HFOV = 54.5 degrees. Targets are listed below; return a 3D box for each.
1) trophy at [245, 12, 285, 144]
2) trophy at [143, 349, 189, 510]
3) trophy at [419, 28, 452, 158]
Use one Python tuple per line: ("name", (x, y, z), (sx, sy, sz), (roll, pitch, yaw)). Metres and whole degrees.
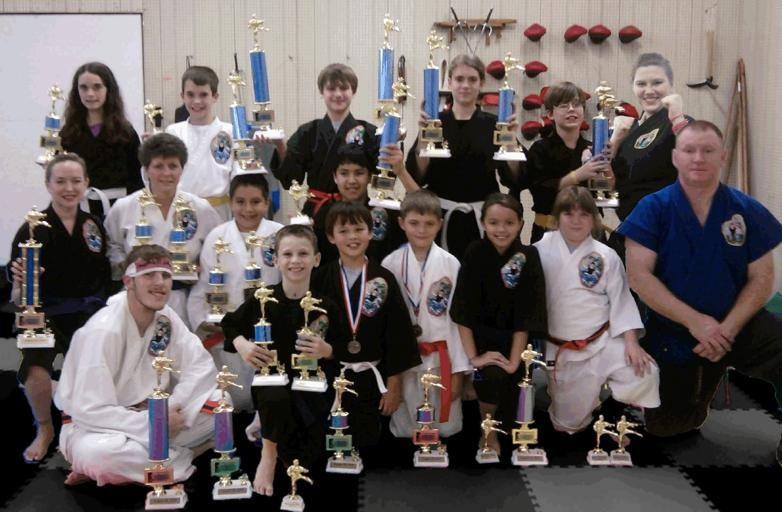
("trophy", (-1.037, -1.524, 6.219), (0.367, 1.555, 0.396), (2, -13, -9))
("trophy", (-1.318, 0.959, 4.347), (0.241, 0.859, 0.457), (-6, 13, -14))
("trophy", (0.263, -1.044, 5.004), (0.311, 0.797, 0.328), (5, 11, 40))
